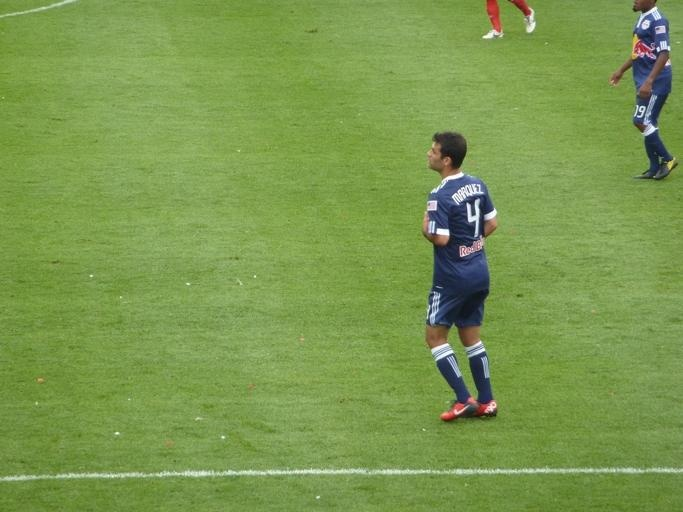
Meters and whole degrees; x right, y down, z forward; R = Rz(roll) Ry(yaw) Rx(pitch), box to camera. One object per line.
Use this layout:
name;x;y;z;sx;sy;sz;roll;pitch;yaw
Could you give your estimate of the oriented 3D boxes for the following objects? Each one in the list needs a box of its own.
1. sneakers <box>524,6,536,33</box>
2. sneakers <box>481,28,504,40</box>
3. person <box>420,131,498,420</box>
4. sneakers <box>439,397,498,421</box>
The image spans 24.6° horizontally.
sneakers;2.855;-3.599;23.745;0.178;0.429;0.215;-6;-26;28
sneakers;2.285;-3.309;23.535;0.364;0.136;0.122;1;12;-3
person;1.178;0.203;15.649;0.722;2.841;0.893;-3;19;19
sneakers;1.315;1.519;15.741;0.645;0.239;0.211;-2;-3;-2
